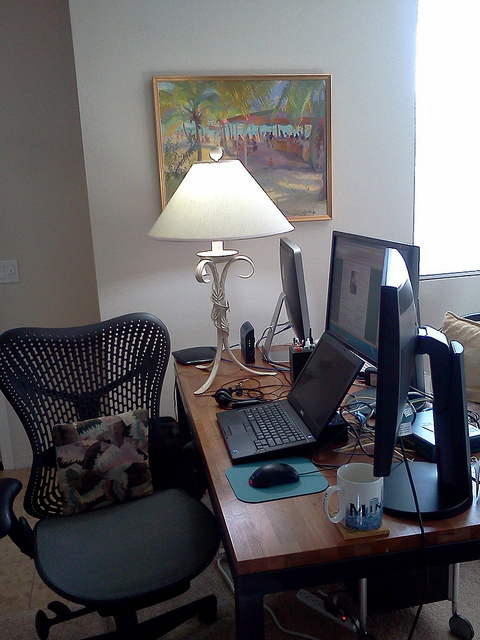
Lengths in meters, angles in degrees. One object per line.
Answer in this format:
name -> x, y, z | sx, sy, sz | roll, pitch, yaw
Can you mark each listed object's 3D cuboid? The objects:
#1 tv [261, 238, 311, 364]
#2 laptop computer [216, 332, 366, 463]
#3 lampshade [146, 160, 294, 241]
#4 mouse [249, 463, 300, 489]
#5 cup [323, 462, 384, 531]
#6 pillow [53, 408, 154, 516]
tv -> 0.186, -0.101, 2.042 | 0.144, 0.452, 0.430 | -6, 21, -3
laptop computer -> 0.106, 0.178, 1.230 | 0.328, 0.234, 0.327 | -2, 10, -4
lampshade -> -0.062, -0.387, 1.569 | 0.466, 0.257, 0.233 | -3, 10, -10
mouse -> 0.068, 0.314, 0.976 | 0.080, 0.031, 0.048 | -9, 15, -19
cup -> 0.179, 0.293, 0.797 | 0.108, 0.089, 0.071 | -6, 10, -23
pillow -> -0.395, 0.409, 1.429 | 0.274, 0.285, 0.104 | -5, 5, -30
